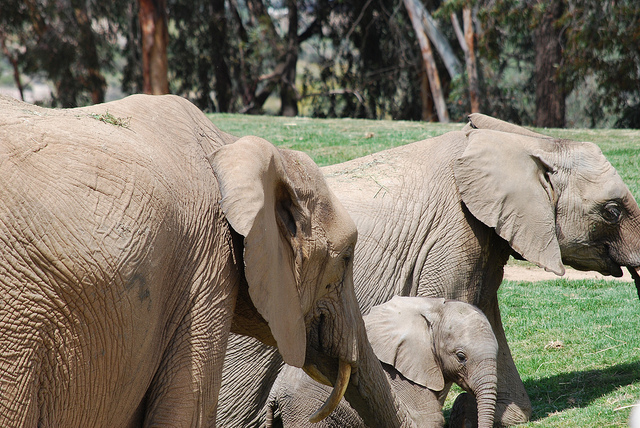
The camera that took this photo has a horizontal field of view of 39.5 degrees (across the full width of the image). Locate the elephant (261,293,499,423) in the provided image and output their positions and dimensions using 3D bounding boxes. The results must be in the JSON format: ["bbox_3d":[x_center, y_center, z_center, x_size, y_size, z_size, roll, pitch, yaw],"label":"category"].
[{"bbox_3d":[0.453,1.301,8.099,1.968,1.436,1.023,-6,6,-12],"label":"elephant"}]
